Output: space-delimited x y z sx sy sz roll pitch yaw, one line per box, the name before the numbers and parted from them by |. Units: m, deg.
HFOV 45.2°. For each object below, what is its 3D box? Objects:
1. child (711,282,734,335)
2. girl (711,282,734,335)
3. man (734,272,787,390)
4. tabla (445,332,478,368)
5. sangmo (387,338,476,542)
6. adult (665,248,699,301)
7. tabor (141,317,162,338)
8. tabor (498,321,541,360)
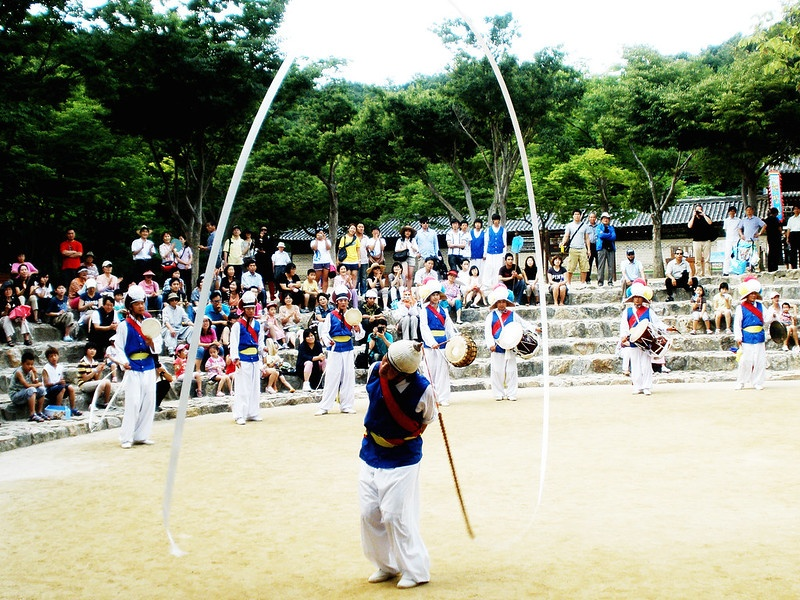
child | 6.855 0.135 20.246 0.384 1.049 0.425 1 11 17
girl | 6.844 0.139 20.227 0.386 1.049 0.389 2 11 18
man | 6.286 0.617 17.136 0.533 1.958 0.521 1 11 18
tabla | 1.087 0.876 16.511 0.532 0.483 0.533 0 -1 19
sangmo | 0.400 1.751 11.751 0.261 2.461 0.215 -15 23 12
adult | 6.326 -0.589 21.557 0.824 1.077 0.801 1 -11 -18
tabor | -3.797 0.432 14.610 0.285 0.317 0.205 -5 11 -16
tabor | 2.110 0.731 17.287 0.720 0.637 0.555 3 12 25
